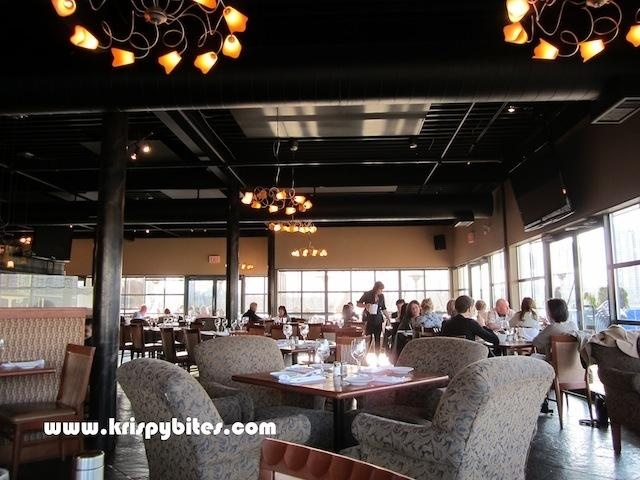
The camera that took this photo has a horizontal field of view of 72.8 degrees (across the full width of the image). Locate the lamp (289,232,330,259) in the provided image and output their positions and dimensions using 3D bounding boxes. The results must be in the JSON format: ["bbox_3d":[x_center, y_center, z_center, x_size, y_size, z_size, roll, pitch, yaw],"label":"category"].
[{"bbox_3d":[-0.340,0.260,13.686,0.917,0.662,0.952,1,-6,7],"label":"lamp"}]

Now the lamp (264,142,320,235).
[{"bbox_3d":[-0.641,-1.179,9.505,1.318,2.568,1.362,1,-7,2],"label":"lamp"}]

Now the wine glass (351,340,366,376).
[{"bbox_3d":[0.341,0.987,3.760,0.109,0.274,0.414,0,-8,7],"label":"wine glass"}]

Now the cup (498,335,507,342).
[{"bbox_3d":[2.620,1.403,6.217,0.114,0.105,0.104,0,-6,0],"label":"cup"}]

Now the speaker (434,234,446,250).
[{"bbox_3d":[4.097,0.073,14.700,0.468,0.527,0.400,0,-8,6],"label":"speaker"}]

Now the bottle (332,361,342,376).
[{"bbox_3d":[0.131,0.990,3.330,0.075,0.131,0.082,-1,-10,0],"label":"bottle"}]

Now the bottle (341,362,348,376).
[{"bbox_3d":[0.189,1.015,3.403,0.069,0.134,0.071,0,-2,0],"label":"bottle"}]

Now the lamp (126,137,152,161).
[{"bbox_3d":[-3.384,-1.727,8.097,0.300,0.432,0.521,-3,32,-19],"label":"lamp"}]

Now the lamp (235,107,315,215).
[{"bbox_3d":[-0.947,-1.337,9.393,1.505,1.965,1.506,5,-3,-39],"label":"lamp"}]

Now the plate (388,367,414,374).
[{"bbox_3d":[0.665,1.073,3.580,0.172,0.042,0.230,-3,-9,22],"label":"plate"}]

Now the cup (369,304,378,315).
[{"bbox_3d":[1.176,1.511,9.470,0.182,0.209,0.204,14,-25,-40],"label":"cup"}]
